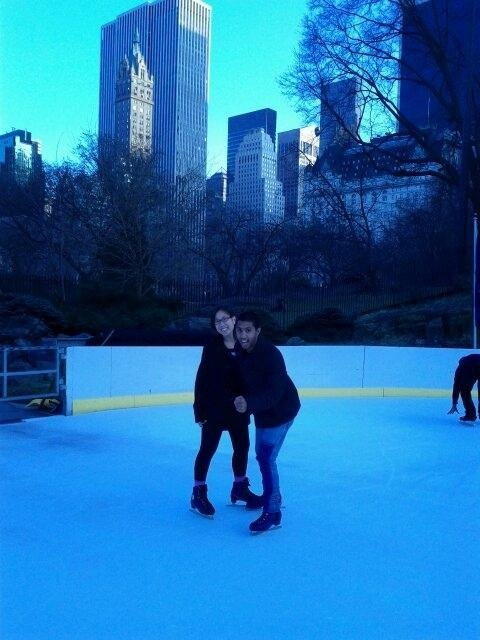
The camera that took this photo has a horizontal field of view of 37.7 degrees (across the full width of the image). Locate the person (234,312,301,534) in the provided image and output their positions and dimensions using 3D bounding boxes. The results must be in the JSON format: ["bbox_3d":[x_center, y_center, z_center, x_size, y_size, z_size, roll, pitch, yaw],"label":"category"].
[{"bbox_3d":[0.158,0.583,4.054,0.379,1.268,0.589,-1,1,0],"label":"person"}]

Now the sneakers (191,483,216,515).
[{"bbox_3d":[-0.237,1.104,4.355,0.080,0.211,0.258,1,-5,-26],"label":"sneakers"}]
